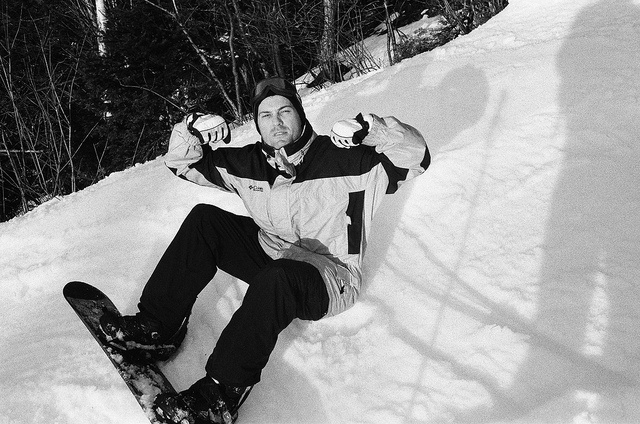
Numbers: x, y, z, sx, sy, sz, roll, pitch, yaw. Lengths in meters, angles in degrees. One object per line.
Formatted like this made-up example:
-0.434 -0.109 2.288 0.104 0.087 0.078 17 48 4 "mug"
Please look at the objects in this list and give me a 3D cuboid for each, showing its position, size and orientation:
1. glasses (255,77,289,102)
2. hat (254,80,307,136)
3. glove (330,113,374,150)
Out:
-0.345 -0.916 3.621 0.180 0.171 0.080 -6 41 1 "glasses"
-0.326 -0.854 3.739 0.330 0.416 0.150 -11 65 -2 "hat"
0.236 -0.554 3.311 0.270 0.113 0.196 -36 71 -6 "glove"
